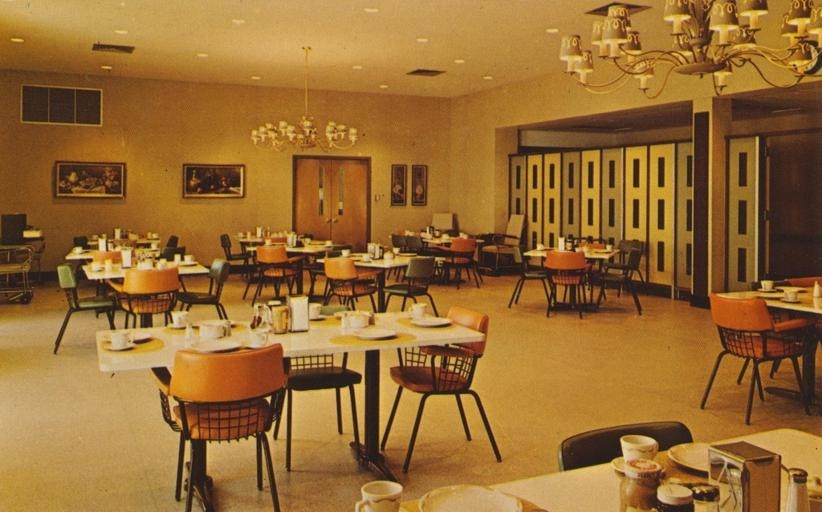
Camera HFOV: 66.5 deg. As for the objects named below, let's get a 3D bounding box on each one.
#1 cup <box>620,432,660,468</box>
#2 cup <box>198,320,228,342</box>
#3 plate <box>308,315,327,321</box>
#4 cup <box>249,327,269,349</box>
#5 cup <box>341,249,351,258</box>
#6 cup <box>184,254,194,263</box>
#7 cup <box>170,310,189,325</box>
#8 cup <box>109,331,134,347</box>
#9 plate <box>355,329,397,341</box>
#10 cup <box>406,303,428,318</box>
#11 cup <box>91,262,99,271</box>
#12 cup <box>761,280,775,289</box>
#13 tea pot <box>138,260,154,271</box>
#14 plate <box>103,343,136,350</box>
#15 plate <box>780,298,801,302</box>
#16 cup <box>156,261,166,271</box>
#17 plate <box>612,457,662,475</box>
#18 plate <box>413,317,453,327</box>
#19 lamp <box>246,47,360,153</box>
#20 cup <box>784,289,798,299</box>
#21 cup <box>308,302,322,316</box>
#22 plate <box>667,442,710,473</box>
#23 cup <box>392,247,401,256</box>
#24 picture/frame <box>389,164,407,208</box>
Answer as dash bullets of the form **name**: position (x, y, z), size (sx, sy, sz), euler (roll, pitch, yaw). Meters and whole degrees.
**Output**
- **cup**: position (1.227, 1.034, 3.421), size (0.216, 0.127, 0.162), euler (-7, 14, -22)
- **cup**: position (-1.646, 0.617, 5.181), size (0.196, 0.126, 0.141), euler (4, 5, 31)
- **plate**: position (-0.831, 0.571, 5.762), size (0.161, 0.044, 0.076), euler (-6, 8, -44)
- **cup**: position (-1.219, 0.664, 5.060), size (0.123, 0.107, 0.168), euler (-2, 13, -16)
- **cup**: position (-1.007, -0.034, 9.719), size (0.121, 0.100, 0.132), euler (-1, -4, 0)
- **cup**: position (-3.475, 0.047, 9.813), size (0.136, 0.129, 0.197), euler (-2, -7, 13)
- **cup**: position (-2.037, 0.551, 5.529), size (0.125, 0.127, 0.282), euler (-3, 6, -21)
- **cup**: position (-2.315, 0.670, 5.020), size (0.196, 0.108, 0.117), euler (2, 1, -14)
- **plate**: position (-0.280, 0.670, 5.338), size (0.307, 0.052, 0.315), euler (5, 8, 44)
- **cup**: position (0.072, 0.509, 5.806), size (0.152, 0.120, 0.180), euler (-1, -1, -30)
- **cup**: position (-4.273, 0.147, 8.544), size (0.136, 0.090, 0.116), euler (-6, 12, -32)
- **cup**: position (4.142, 0.337, 7.285), size (0.133, 0.086, 0.121), euler (-1, 5, 0)
- **tea pot**: position (-3.467, 0.125, 8.203), size (0.173, 0.094, 0.164), euler (1, 1, 0)
- **plate**: position (-2.330, 0.722, 4.997), size (0.264, 0.042, 0.125), euler (1, 6, 11)
- **plate**: position (4.023, 0.465, 6.644), size (0.162, 0.025, 0.220), euler (3, 7, 30)
- **cup**: position (-3.321, 0.128, 8.370), size (0.162, 0.136, 0.148), euler (-1, 5, 0)
- **plate**: position (1.150, 1.093, 3.236), size (0.193, 0.035, 0.182), euler (2, 3, -23)
- **plate**: position (0.189, 0.600, 5.647), size (0.374, 0.063, 0.192), euler (0, 6, 1)
- **lamp**: position (-2.346, -3.303, 14.010), size (2.267, 1.698, 2.099), euler (0, 1, -7)
- **cup**: position (4.055, 0.409, 6.677), size (0.134, 0.079, 0.121), euler (-5, 7, -22)
- **cup**: position (-0.858, 0.501, 5.768), size (0.134, 0.091, 0.122), euler (-2, 17, 1)
- **plate**: position (1.563, 1.116, 3.536), size (0.211, 0.126, 0.292), euler (2, 6, 22)
- **cup**: position (-0.223, -0.063, 10.505), size (0.145, 0.116, 0.135), euler (1, 2, 0)
- **picture/frame**: position (-0.290, -1.796, 16.072), size (0.484, 1.066, 0.086), euler (-4, 7, -26)
